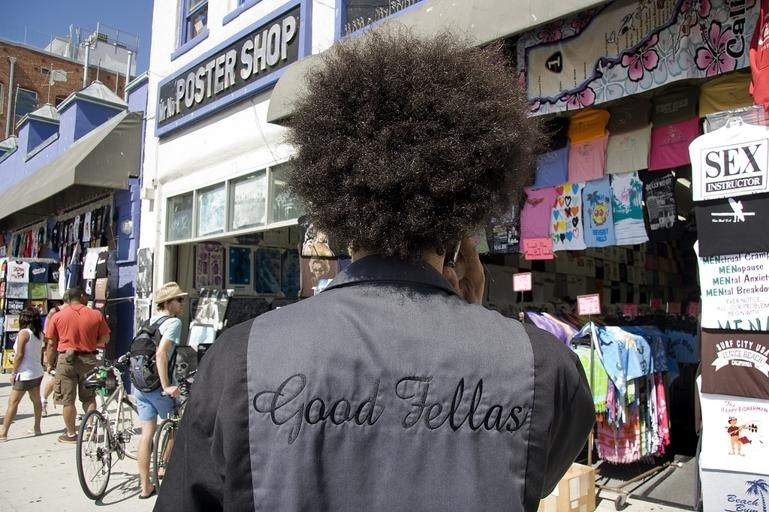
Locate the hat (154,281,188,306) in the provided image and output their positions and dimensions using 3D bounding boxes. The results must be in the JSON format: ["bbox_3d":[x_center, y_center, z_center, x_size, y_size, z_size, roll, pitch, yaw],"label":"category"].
[{"bbox_3d":[-2.965,0.537,9.361,0.410,0.176,0.375,-20,1,-25],"label":"hat"}]

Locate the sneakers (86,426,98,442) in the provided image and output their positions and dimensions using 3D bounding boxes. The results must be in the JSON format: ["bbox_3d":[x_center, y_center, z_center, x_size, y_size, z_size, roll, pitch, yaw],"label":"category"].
[{"bbox_3d":[-4.048,2.448,9.330,0.163,0.248,0.401,1,-7,-24],"label":"sneakers"}]

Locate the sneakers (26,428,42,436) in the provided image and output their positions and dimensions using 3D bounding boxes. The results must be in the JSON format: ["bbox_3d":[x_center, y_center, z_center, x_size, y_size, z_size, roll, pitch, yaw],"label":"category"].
[{"bbox_3d":[-5.922,2.986,11.366,0.229,0.098,0.098,2,-5,24],"label":"sneakers"}]
